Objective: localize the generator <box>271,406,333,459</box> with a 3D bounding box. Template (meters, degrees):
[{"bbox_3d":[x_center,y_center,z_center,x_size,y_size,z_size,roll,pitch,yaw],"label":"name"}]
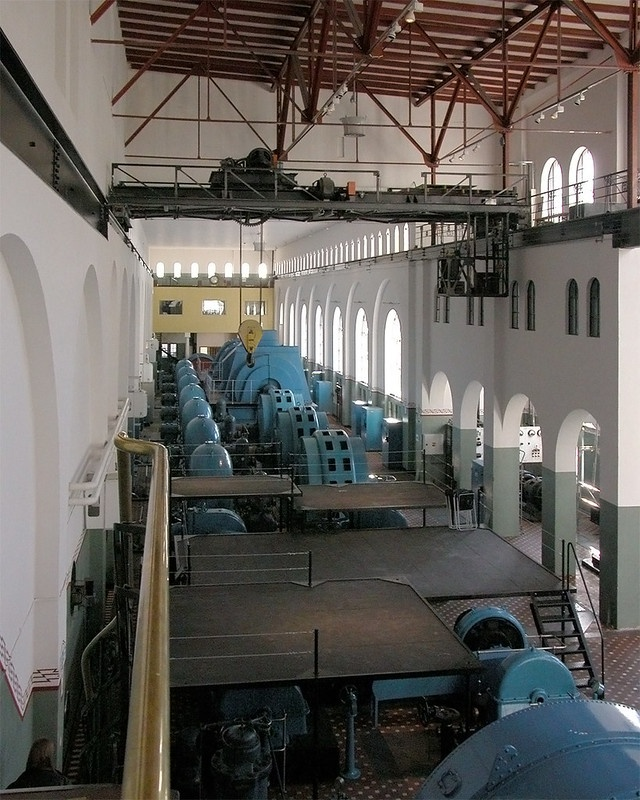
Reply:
[{"bbox_3d":[-0.588,0.762,19.710,1.098,1.702,1.297,0,-7,-9],"label":"generator"}]

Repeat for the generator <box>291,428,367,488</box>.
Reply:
[{"bbox_3d":[0.332,1.351,15.900,0.978,1.483,1.250,0,-10,-8],"label":"generator"}]
